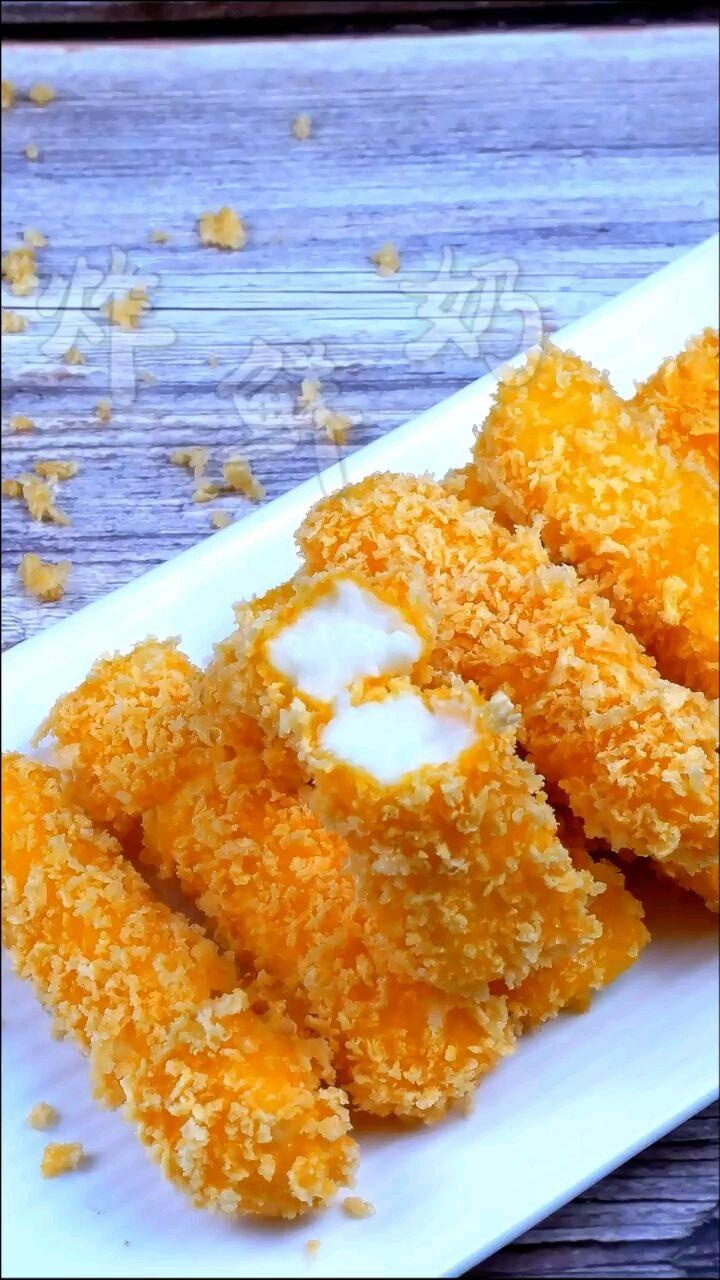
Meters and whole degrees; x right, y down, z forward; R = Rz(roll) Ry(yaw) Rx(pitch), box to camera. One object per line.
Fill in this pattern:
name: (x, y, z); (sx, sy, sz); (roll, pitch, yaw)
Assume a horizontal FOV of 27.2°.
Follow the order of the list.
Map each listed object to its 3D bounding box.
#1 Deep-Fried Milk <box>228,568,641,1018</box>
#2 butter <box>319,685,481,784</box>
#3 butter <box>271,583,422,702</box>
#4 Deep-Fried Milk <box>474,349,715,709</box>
Deep-Fried Milk: (0.034, 0.079, 0.669); (0.123, 0.219, 0.074); (-42, 14, -22)
butter: (0.016, 0.038, 0.587); (0.062, 0.032, 0.025); (-2, 19, -2)
butter: (-0.005, 0.000, 0.599); (0.056, 0.042, 0.032); (-12, 22, -30)
Deep-Fried Milk: (0.138, -0.066, 0.756); (0.077, 0.176, 0.094); (-33, -7, -42)
